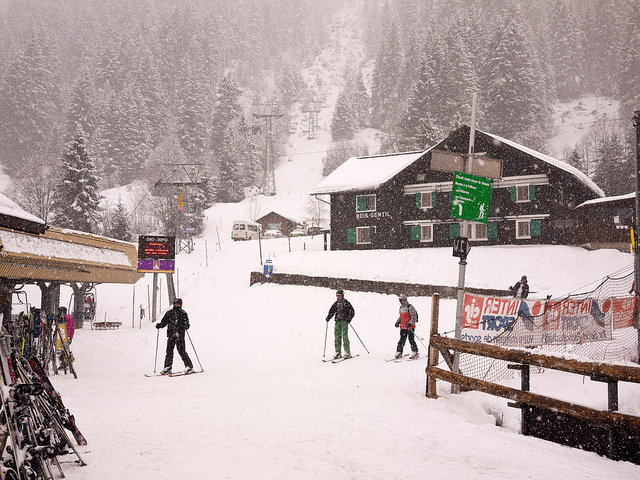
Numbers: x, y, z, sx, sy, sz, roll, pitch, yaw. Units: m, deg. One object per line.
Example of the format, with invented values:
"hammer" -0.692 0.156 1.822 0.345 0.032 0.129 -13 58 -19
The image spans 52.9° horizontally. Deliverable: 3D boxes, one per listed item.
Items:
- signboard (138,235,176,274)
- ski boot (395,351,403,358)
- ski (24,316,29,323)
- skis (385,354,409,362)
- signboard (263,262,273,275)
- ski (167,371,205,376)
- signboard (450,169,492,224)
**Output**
"signboard" -10.648 0.955 41.848 1.961 2.195 0.202 8 -16 -28
"ski boot" 3.154 4.670 26.209 0.208 0.234 0.057 12 -9 30
"ski" -11.430 3.076 25.159 0.154 0.194 0.827 -1 0 -24
"skis" 3.123 4.829 26.335 1.308 0.073 0.136 -6 28 -29
"signboard" -3.603 1.989 44.900 0.791 0.631 1.069 1 12 -2
"ski" -5.284 5.278 25.411 1.307 0.087 0.183 0 7 -39
"signboard" 5.009 -1.504 21.722 1.540 1.738 0.481 -1 0 -31
